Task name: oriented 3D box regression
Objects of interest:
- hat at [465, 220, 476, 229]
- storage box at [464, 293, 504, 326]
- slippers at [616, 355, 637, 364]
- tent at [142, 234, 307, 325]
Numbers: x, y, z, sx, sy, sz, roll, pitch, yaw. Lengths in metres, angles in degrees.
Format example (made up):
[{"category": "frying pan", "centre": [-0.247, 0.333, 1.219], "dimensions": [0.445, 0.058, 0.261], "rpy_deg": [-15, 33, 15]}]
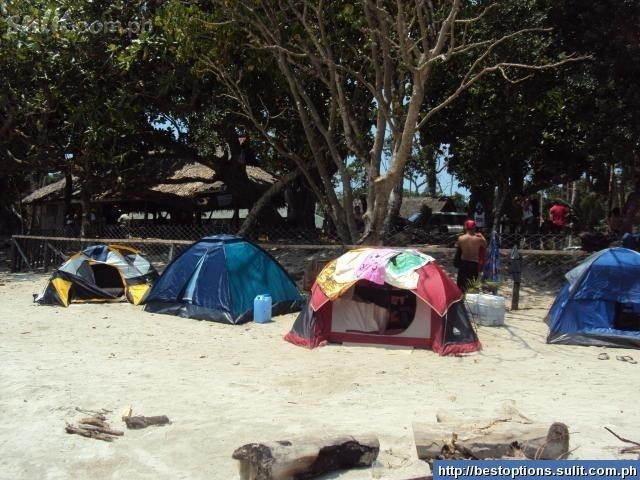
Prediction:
[{"category": "hat", "centre": [3.329, -0.391, 12.720], "dimensions": [0.186, 0.198, 0.226], "rpy_deg": [31, -5, 27]}, {"category": "storage box", "centre": [3.658, 1.569, 12.770], "dimensions": [0.521, 0.637, 0.882], "rpy_deg": [0, -1, -19]}, {"category": "slippers", "centre": [5.481, 2.141, 10.187], "dimensions": [0.336, 0.025, 0.506], "rpy_deg": [4, 10, 27]}, {"category": "tent", "centre": [-2.036, 0.978, 14.106], "dimensions": [2.290, 1.454, 2.481], "rpy_deg": [2, 2, 26]}]
